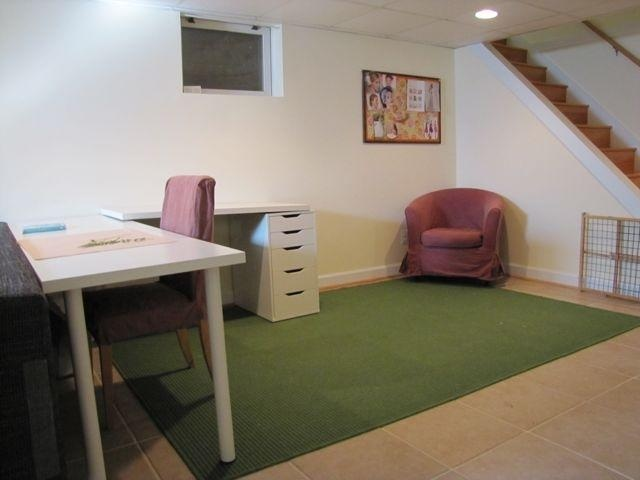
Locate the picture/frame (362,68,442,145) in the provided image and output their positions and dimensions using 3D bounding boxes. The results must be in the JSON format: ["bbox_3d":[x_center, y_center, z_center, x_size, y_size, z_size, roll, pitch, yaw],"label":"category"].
[{"bbox_3d":[0.800,-1.363,4.768,0.782,0.588,0.034,-5,10,-31],"label":"picture/frame"}]

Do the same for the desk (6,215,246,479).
[{"bbox_3d":[-0.877,0.479,2.176,0.720,0.972,1.073,-11,16,-36],"label":"desk"}]

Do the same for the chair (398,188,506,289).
[{"bbox_3d":[1.333,-0.119,4.697,1.000,0.981,0.930,4,10,34],"label":"chair"}]
